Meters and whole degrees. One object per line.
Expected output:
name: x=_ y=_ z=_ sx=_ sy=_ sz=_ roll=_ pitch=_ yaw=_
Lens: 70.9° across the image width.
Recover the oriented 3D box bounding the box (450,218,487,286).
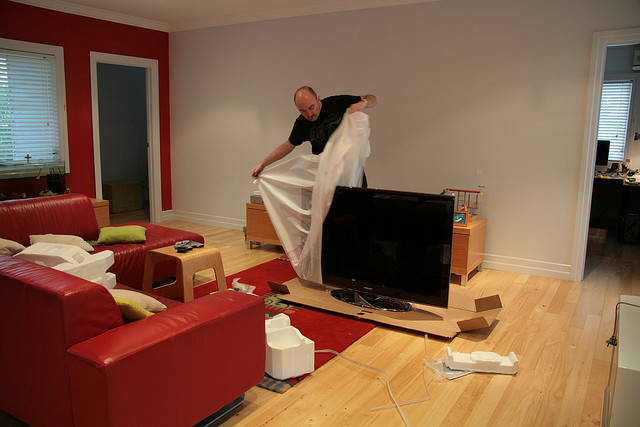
box: x=1.786 y=0.438 z=5.630 sx=0.439 sy=0.698 sz=0.834 roll=7 pitch=13 yaw=35

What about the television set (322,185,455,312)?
television set: x=0.619 y=0.298 z=4.345 sx=1.262 sy=1.069 sz=0.106 roll=6 pitch=12 yaw=24

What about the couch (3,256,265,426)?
couch: x=-1.204 y=0.336 z=3.004 sx=1.934 sy=0.902 sz=1.133 roll=7 pitch=12 yaw=36

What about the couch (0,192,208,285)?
couch: x=-2.430 y=0.182 z=4.648 sx=1.166 sy=0.634 sz=1.203 roll=7 pitch=12 yaw=20

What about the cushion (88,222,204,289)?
cushion: x=-1.866 y=0.449 z=4.832 sx=0.891 sy=0.655 sz=1.152 roll=12 pitch=14 yaw=35
